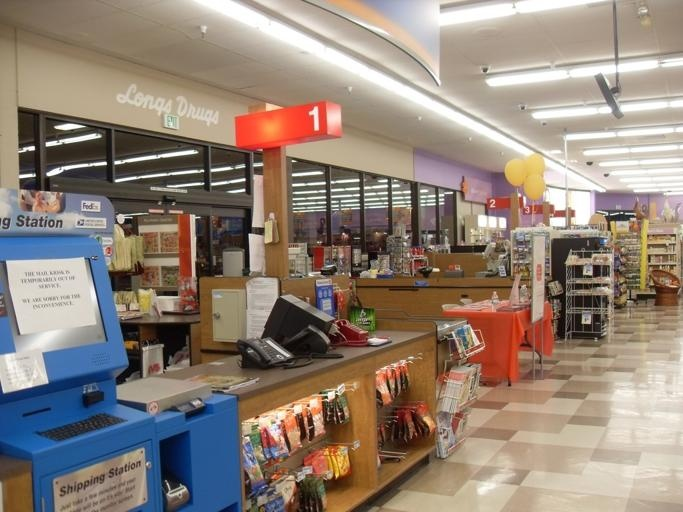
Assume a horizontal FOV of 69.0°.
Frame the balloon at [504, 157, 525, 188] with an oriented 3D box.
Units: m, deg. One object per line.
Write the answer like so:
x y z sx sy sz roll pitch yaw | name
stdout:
3.805 -1.844 10.828 0.400 0.527 0.429 -1 0 19 | balloon

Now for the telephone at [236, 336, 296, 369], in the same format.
-0.483 0.608 3.176 0.302 0.184 0.268 -1 0 34 | telephone

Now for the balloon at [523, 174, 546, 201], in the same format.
4.126 -1.434 10.739 0.522 0.657 0.519 3 -12 3 | balloon

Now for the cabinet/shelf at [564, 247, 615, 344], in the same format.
4.929 0.635 9.947 0.894 1.671 0.910 -1 11 14 | cabinet/shelf

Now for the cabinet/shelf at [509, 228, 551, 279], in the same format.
3.458 -0.061 9.024 0.732 0.868 3.218 -1 1 24 | cabinet/shelf

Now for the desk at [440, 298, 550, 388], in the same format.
2.267 1.129 7.305 1.083 0.848 1.653 5 5 32 | desk

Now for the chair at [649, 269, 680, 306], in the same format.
9.712 0.938 14.870 0.687 0.921 0.543 -1 0 35 | chair

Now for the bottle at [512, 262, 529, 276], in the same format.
3.213 0.220 8.965 0.390 0.226 0.264 -1 -10 41 | bottle

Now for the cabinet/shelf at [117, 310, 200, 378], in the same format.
-2.066 1.072 5.837 0.805 0.881 0.807 -2 -4 15 | cabinet/shelf

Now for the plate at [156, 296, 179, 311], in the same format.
-2.193 0.597 6.230 0.306 0.196 0.107 -1 0 21 | plate
